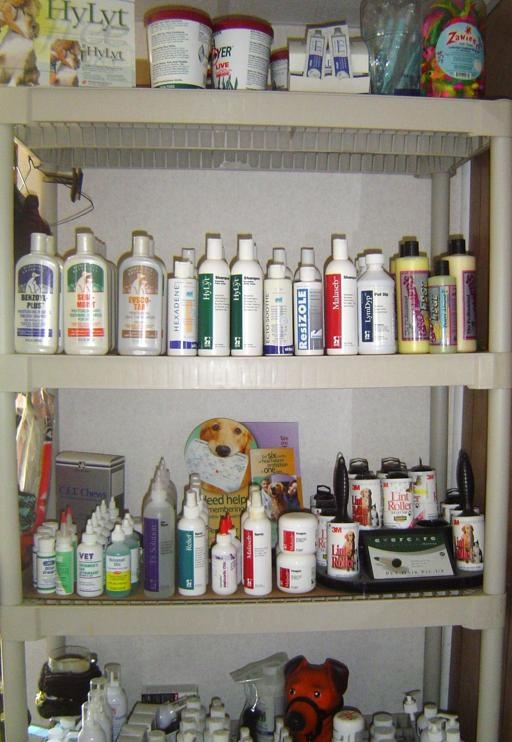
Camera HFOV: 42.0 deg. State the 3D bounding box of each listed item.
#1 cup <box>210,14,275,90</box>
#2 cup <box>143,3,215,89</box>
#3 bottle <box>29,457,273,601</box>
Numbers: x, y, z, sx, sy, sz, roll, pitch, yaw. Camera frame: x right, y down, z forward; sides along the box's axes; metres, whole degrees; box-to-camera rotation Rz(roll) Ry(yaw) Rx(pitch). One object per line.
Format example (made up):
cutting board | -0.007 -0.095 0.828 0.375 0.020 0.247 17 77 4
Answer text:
cup | -0.018 -0.501 1.098 0.108 0.101 0.113 2 10 0
cup | -0.118 -0.493 1.062 0.111 0.113 0.125 0 4 1
bottle | -0.175 0.252 1.116 0.326 0.242 0.195 2 -7 -4
